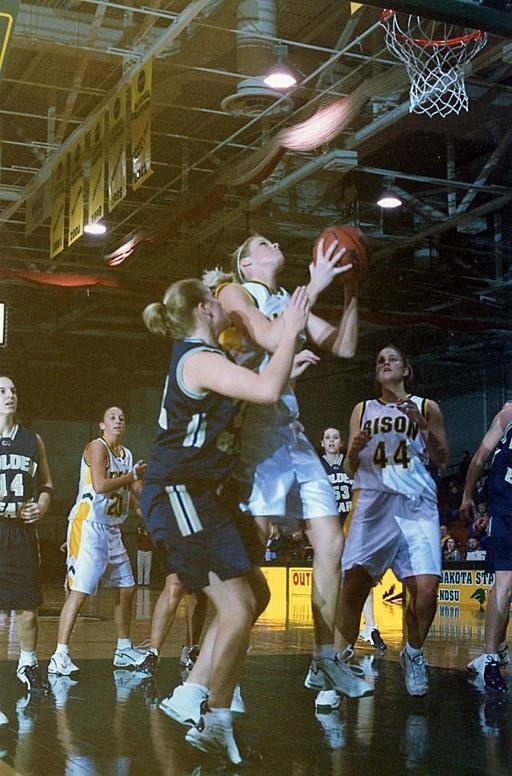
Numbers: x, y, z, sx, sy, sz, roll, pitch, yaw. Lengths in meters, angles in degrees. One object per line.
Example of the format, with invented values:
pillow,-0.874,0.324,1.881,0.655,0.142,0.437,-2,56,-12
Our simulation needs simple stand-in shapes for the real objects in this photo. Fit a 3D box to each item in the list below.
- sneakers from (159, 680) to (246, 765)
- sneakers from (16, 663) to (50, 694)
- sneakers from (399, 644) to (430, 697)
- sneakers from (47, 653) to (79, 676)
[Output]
sneakers,-0.141,0.892,1.816,0.153,0.186,0.307,6,-4,-25
sneakers,-1.154,1.546,3.530,0.107,0.102,0.245,-5,13,-42
sneakers,0.701,1.288,3.116,0.120,0.253,0.111,-5,-22,-3
sneakers,-1.170,1.663,4.078,0.264,0.136,0.090,4,-7,-11
